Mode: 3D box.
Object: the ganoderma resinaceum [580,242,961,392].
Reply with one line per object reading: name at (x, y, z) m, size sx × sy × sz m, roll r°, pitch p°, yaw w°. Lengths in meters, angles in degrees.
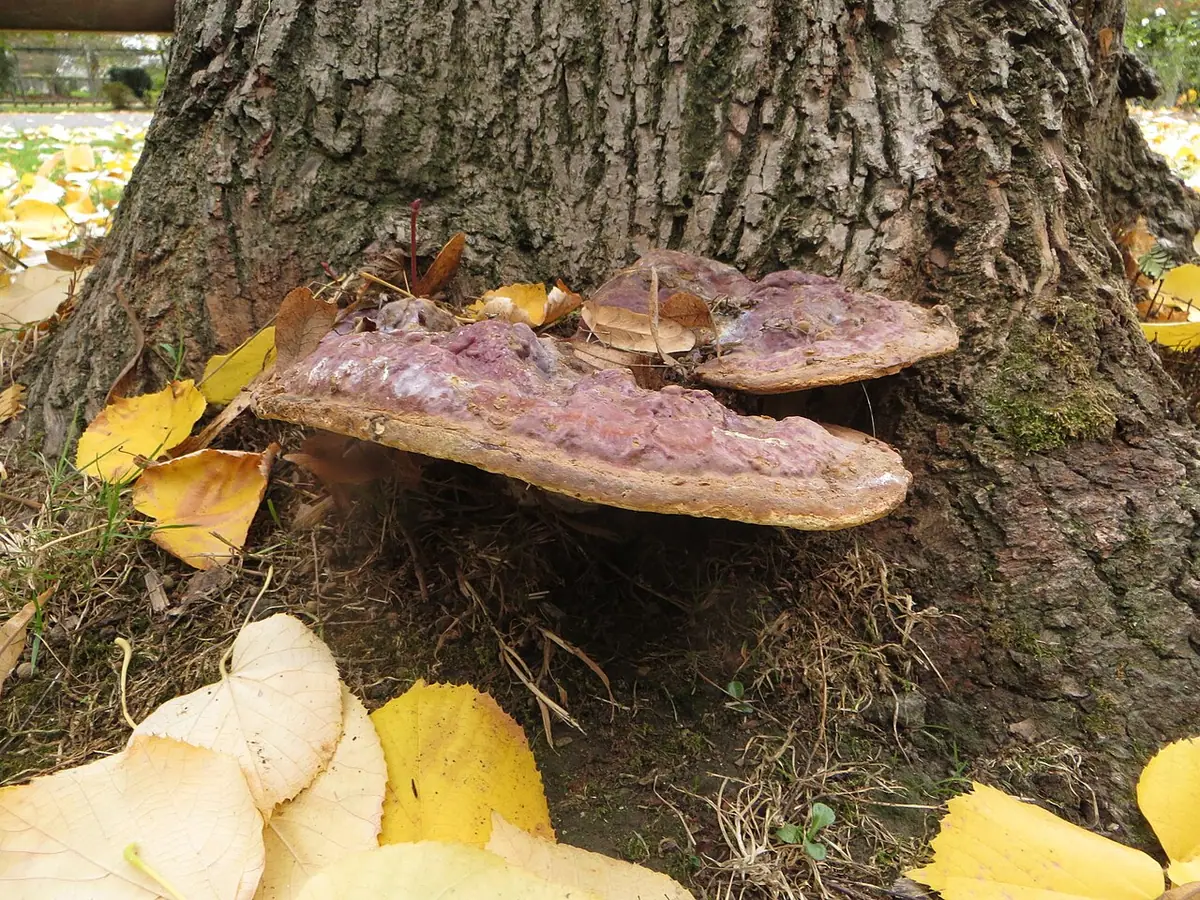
ganoderma resinaceum at (0.431, -0.318, 2.711) m, size 0.745 × 0.147 × 0.455 m, roll 6°, pitch 25°, yaw -1°
